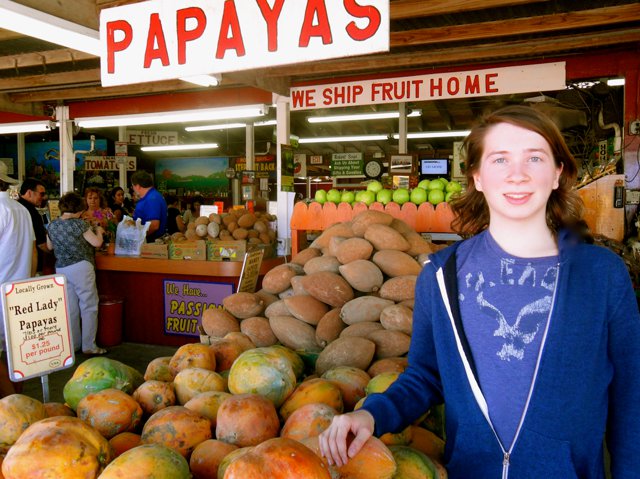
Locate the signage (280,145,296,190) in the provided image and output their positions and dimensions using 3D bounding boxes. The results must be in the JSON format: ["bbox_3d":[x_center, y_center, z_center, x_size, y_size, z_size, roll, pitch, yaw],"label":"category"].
[{"bbox_3d":[-0.484,-1.019,7.171,0.125,0.662,0.374,5,8,26],"label":"signage"}]

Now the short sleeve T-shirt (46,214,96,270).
[{"bbox_3d":[-2.820,0.046,5.761,0.551,0.594,0.361,-3,9,23],"label":"short sleeve T-shirt"}]

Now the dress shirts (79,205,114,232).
[{"bbox_3d":[-2.827,-0.259,6.276,0.370,0.175,0.443,-2,2,-19],"label":"dress shirts"}]

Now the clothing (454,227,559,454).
[{"bbox_3d":[0.629,0.369,1.686,0.380,0.765,0.096,2,6,20],"label":"clothing"}]

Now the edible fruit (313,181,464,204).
[{"bbox_3d":[0.676,-0.423,4.575,0.956,0.190,0.544,4,10,33],"label":"edible fruit"}]

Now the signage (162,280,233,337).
[{"bbox_3d":[-1.547,0.763,6.062,0.927,0.797,0.220,3,9,13],"label":"signage"}]

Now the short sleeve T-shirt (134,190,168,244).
[{"bbox_3d":[-2.367,-0.369,6.919,0.467,0.690,0.823,0,5,-24],"label":"short sleeve T-shirt"}]
